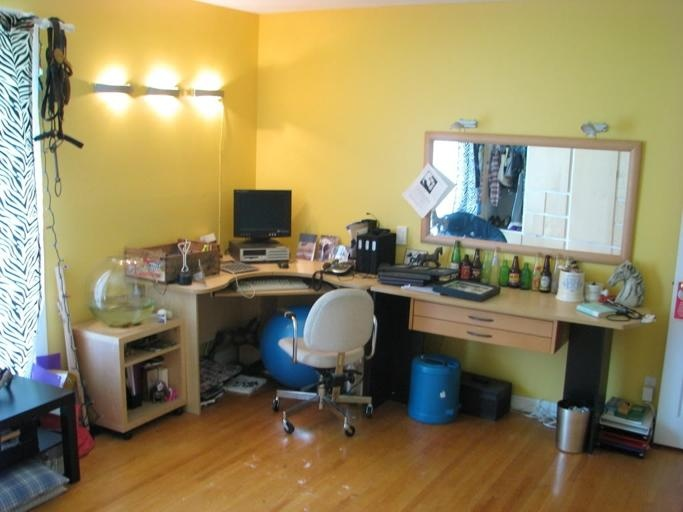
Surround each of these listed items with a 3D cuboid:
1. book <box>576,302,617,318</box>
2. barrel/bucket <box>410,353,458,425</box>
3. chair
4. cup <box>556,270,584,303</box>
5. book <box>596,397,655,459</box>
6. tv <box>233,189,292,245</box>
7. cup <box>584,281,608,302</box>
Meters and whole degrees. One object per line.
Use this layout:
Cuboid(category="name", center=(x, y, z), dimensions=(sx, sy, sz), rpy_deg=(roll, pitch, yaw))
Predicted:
Cuboid(category="book", center=(1.729, 0.357, 3.941), dimensions=(0.232, 0.056, 0.215), rpy_deg=(-6, 11, -36))
Cuboid(category="barrel/bucket", center=(0.731, 0.994, 4.532), dimensions=(0.413, 0.489, 0.430), rpy_deg=(2, 3, 0))
Cuboid(category="chair", center=(-0.107, 0.693, 4.315), dimensions=(0.700, 1.035, 0.718), rpy_deg=(-1, 8, -27))
Cuboid(category="cup", center=(1.646, 0.192, 4.218), dimensions=(0.199, 0.228, 0.205), rpy_deg=(0, 14, 0))
Cuboid(category="book", center=(2.042, 1.201, 4.147), dimensions=(0.306, 0.315, 0.390), rpy_deg=(7, 11, 36))
Cuboid(category="tv", center=(-0.688, -0.339, 5.194), dimensions=(0.517, 0.474, 0.274), rpy_deg=(0, -7, 3))
Cuboid(category="cup", center=(1.853, 0.256, 4.216), dimensions=(0.151, 0.114, 0.117), rpy_deg=(5, 7, 36))
